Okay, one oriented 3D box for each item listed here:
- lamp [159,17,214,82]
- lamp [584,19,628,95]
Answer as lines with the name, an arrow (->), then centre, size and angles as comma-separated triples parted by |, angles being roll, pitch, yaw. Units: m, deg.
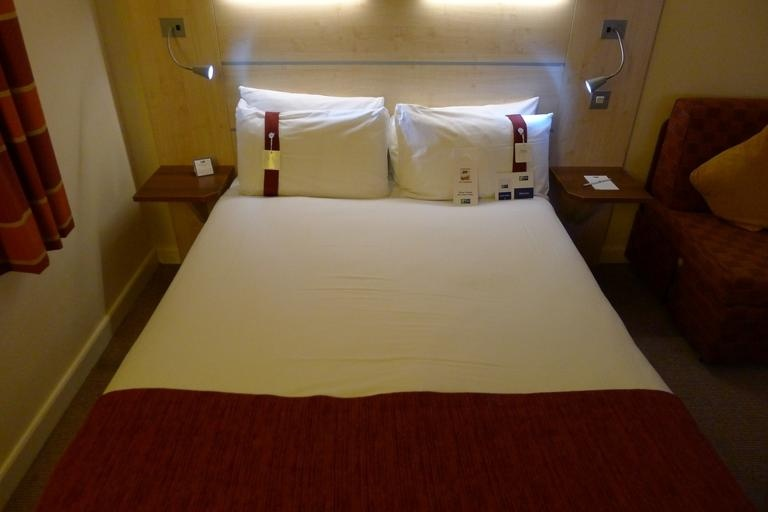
lamp -> -1.179, -1.250, 3.097 | 0.306, 0.342, 0.284 | -3, 18, -15
lamp -> 1.359, -1.234, 3.227 | 0.195, 0.444, 0.293 | 15, 21, 36
